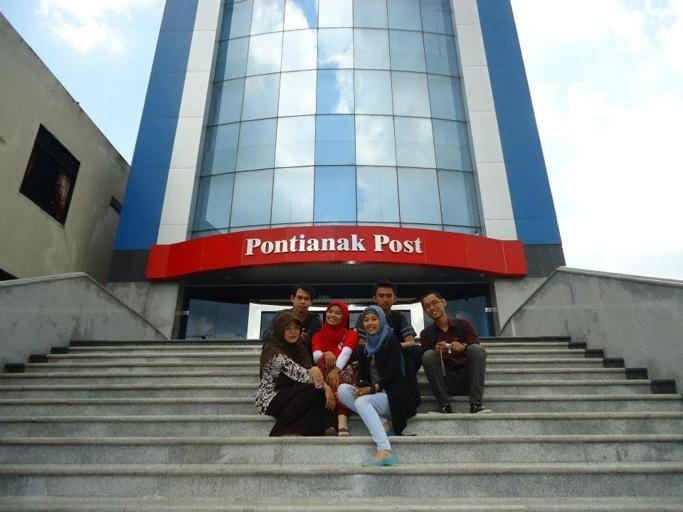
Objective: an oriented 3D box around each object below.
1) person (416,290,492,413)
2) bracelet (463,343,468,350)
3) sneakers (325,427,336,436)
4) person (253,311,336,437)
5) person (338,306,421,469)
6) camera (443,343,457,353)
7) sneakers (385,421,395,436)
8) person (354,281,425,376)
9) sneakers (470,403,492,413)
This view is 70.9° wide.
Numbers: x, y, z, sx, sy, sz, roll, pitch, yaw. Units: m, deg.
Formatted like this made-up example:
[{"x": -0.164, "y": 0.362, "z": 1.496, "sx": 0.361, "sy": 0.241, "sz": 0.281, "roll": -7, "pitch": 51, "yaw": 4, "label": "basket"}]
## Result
[{"x": 1.473, "y": 1.368, "z": 6.411, "sx": 0.956, "sy": 1.300, "sz": 2.104, "roll": -4, "pitch": 44, "yaw": 11, "label": "person"}, {"x": 1.668, "y": 1.222, "z": 6.472, "sx": 0.049, "sy": 0.069, "sz": 0.070, "roll": 12, "pitch": 32, "yaw": 1, "label": "bracelet"}, {"x": -0.130, "y": 2.062, "z": 5.615, "sx": 0.125, "sy": 0.136, "sz": 0.071, "roll": 1, "pitch": -14, "yaw": 1, "label": "sneakers"}, {"x": -0.606, "y": 1.464, "z": 5.913, "sx": 0.916, "sy": 0.900, "sz": 1.397, "roll": -5, "pitch": 26, "yaw": -13, "label": "person"}, {"x": 0.435, "y": 1.632, "z": 5.743, "sx": 0.769, "sy": 0.626, "sz": 1.349, "roll": 37, "pitch": 31, "yaw": -26, "label": "person"}, {"x": 1.443, "y": 1.240, "z": 6.426, "sx": 0.114, "sy": 0.119, "sz": 0.197, "roll": -1, "pitch": -5, "yaw": 13, "label": "camera"}, {"x": 0.562, "y": 2.029, "z": 5.580, "sx": 0.082, "sy": 0.150, "sz": 0.136, "roll": -6, "pitch": 16, "yaw": -21, "label": "sneakers"}, {"x": 0.642, "y": 1.048, "z": 6.687, "sx": 0.894, "sy": 1.393, "sz": 0.848, "roll": -5, "pitch": -8, "yaw": 16, "label": "person"}, {"x": 1.692, "y": 1.874, "z": 5.893, "sx": 0.262, "sy": 0.115, "sz": 0.100, "roll": -11, "pitch": -15, "yaw": 34, "label": "sneakers"}]
